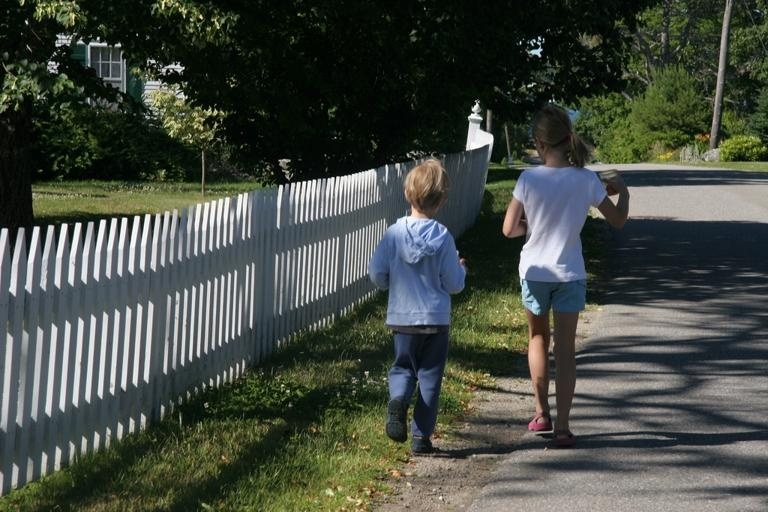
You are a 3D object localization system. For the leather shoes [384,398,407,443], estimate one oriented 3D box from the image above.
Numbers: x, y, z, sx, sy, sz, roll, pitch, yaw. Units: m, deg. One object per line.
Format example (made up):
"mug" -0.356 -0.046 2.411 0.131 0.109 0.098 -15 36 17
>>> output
"leather shoes" 0.102 1.493 9.642 0.165 0.406 0.176 -2 -12 8

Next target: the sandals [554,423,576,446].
"sandals" 1.670 1.655 9.917 0.167 0.130 0.463 -2 4 3

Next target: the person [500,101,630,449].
"person" 1.661 0.177 9.909 1.017 3.072 0.586 -6 10 -4
